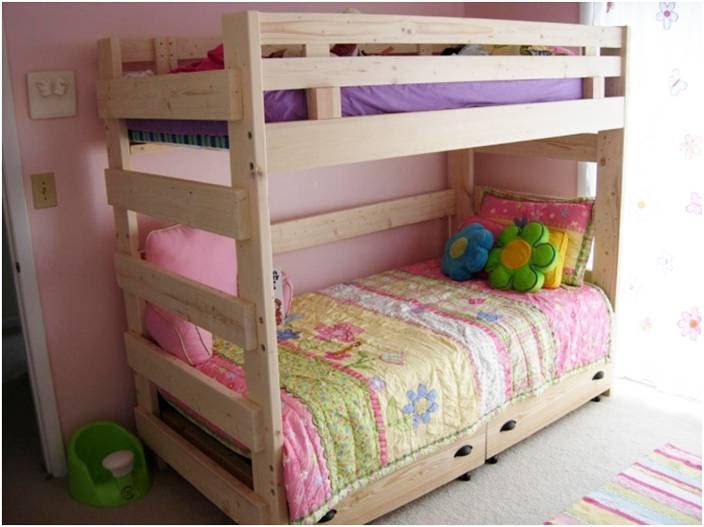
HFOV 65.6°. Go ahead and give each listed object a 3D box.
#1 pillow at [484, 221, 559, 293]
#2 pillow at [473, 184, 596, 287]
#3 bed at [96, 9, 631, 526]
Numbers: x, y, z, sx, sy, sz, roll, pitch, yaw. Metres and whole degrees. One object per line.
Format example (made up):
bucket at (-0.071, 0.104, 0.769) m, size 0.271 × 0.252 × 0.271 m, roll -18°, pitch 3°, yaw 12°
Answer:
pillow at (1.051, -0.039, 3.355) m, size 0.118 × 0.484 × 0.531 m, roll 23°, pitch -12°, yaw -42°
pillow at (1.263, -0.146, 3.498) m, size 0.163 × 0.640 × 0.679 m, roll 24°, pitch -12°, yaw -38°
bed at (0.060, 0.068, 2.656) m, size 2.368 × 1.961 × 1.347 m, roll -13°, pitch 18°, yaw -39°
